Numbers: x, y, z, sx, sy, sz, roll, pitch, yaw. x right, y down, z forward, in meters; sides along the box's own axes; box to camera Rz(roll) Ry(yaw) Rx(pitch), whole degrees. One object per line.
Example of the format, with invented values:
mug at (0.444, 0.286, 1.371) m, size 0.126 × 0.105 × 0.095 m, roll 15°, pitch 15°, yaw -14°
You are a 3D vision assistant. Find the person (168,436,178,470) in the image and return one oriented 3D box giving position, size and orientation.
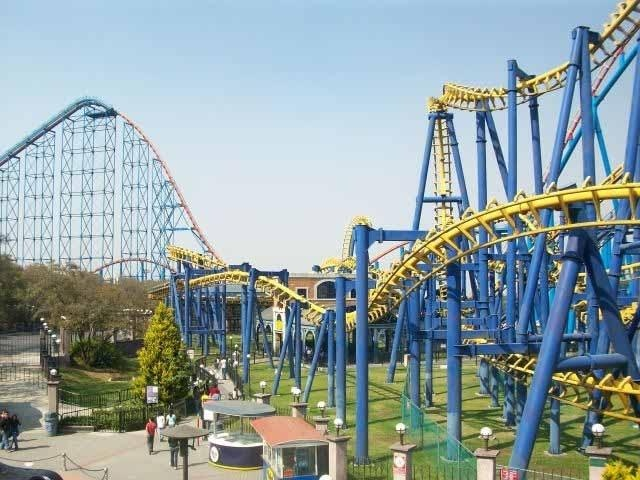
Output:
person at (-5.728, 8.508, 35.852) m, size 0.350 × 1.115 × 1.093 m, roll 1°, pitch -7°, yaw -9°
